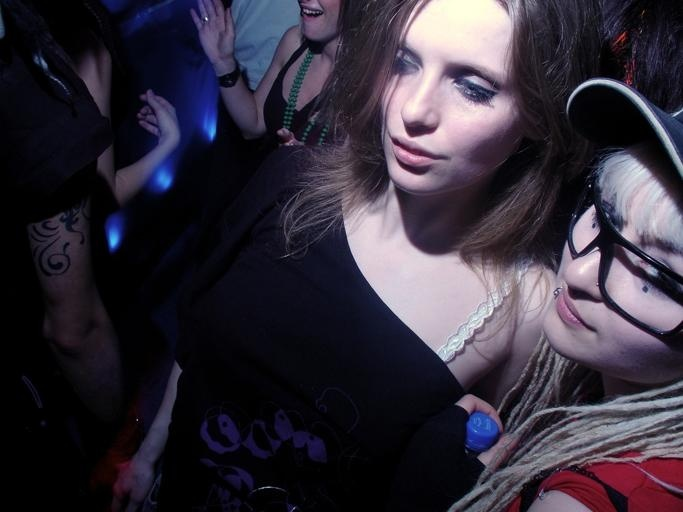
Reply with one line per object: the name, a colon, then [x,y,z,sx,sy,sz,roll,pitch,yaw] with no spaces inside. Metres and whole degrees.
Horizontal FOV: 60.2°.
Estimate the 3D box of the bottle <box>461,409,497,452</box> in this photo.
bottle: [0.444,0.562,1.870,0.104,0.076,0.113,19,43,-19]
